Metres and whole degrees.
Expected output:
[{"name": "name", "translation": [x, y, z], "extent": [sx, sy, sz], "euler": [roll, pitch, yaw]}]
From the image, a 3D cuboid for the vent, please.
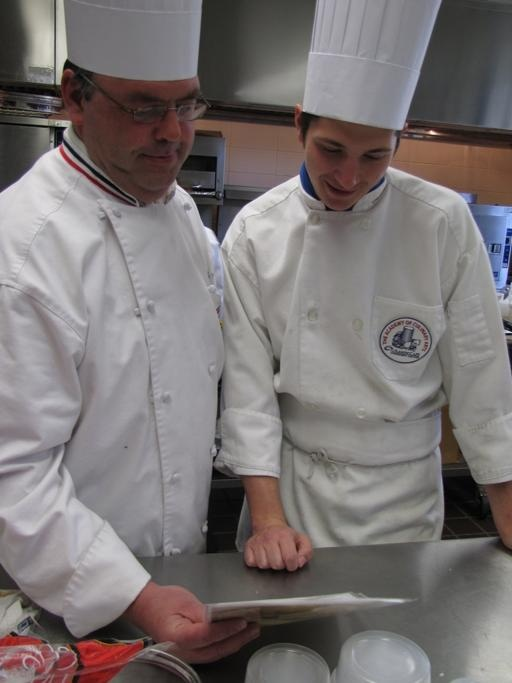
[{"name": "vent", "translation": [-0.294, -1.021, 3.380], "extent": [0.369, 0.375, 0.277], "euler": [10, 23, 21]}]
